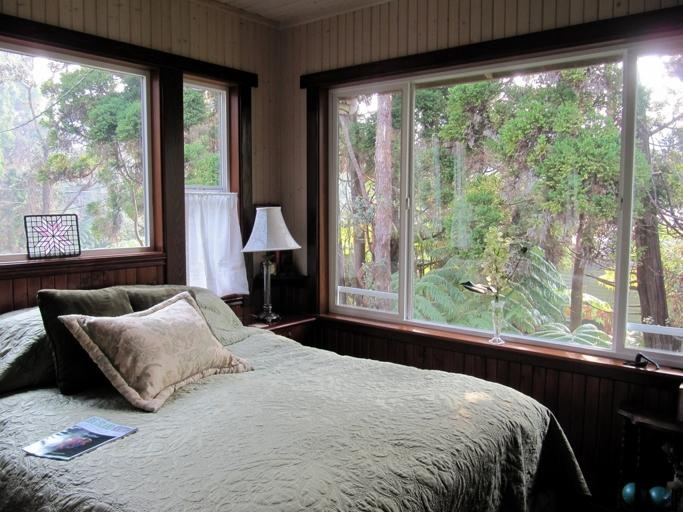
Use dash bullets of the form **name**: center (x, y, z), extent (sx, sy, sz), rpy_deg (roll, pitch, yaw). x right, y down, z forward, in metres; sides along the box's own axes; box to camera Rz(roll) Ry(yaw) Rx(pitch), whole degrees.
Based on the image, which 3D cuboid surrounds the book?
- **book**: center (-1.105, 0.770, 2.080), extent (0.404, 0.035, 0.259), rpy_deg (-11, 17, -42)

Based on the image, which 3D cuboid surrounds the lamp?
- **lamp**: center (-0.612, 0.077, 4.109), extent (0.519, 0.958, 0.516), rpy_deg (-4, 6, -45)
